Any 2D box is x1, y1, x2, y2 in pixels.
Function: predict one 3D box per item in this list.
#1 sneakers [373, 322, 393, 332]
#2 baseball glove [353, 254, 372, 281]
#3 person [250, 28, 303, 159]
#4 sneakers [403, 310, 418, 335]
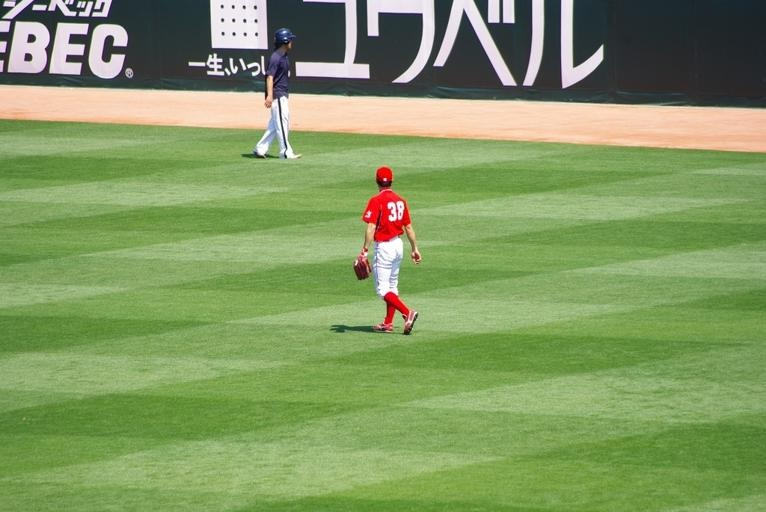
[{"bbox_3d":[0.006,0.931,19.233,0.293,0.099,0.089,4,4,5],"label":"sneakers"},{"bbox_3d":[-0.263,0.130,19.227,0.300,0.289,0.336,-4,21,-2],"label":"baseball glove"},{"bbox_3d":[-1.837,-2.769,26.264,0.764,2.186,1.430,-1,15,-3],"label":"person"},{"bbox_3d":[0.329,0.863,19.102,0.227,0.327,0.128,16,34,1],"label":"sneakers"}]
